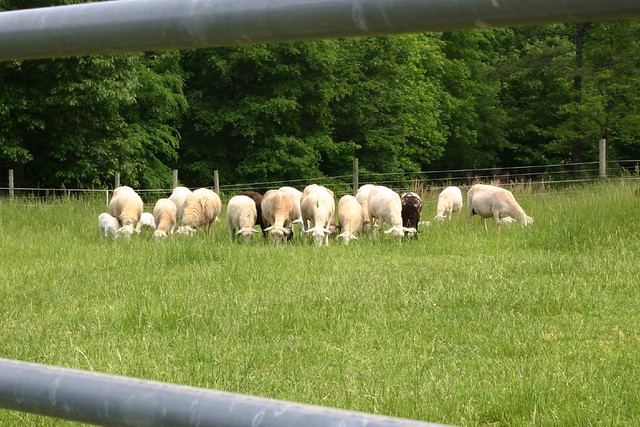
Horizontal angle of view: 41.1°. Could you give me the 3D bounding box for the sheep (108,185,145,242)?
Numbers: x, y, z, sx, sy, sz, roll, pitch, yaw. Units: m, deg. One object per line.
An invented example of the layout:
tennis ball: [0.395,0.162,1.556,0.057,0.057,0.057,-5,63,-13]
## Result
sheep: [-5.001,0.038,22.260,0.640,1.001,1.923,-1,26,-16]

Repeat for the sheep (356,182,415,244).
sheep: [1.756,0.054,22.312,0.789,1.174,2.438,-4,16,-14]

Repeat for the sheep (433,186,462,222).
sheep: [4.057,-0.168,26.542,0.610,1.000,2.751,3,13,14]

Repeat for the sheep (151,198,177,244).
sheep: [-4.033,0.317,22.326,0.562,1.077,2.096,-1,22,-5]

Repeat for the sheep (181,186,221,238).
sheep: [-3.094,0.100,22.215,0.796,1.227,1.745,1,13,5]

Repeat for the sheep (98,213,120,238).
sheep: [-5.368,0.327,21.845,0.876,0.444,0.510,12,17,42]

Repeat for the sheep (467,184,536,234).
sheep: [4.889,-0.028,23.217,0.797,1.321,2.334,-4,9,-33]
